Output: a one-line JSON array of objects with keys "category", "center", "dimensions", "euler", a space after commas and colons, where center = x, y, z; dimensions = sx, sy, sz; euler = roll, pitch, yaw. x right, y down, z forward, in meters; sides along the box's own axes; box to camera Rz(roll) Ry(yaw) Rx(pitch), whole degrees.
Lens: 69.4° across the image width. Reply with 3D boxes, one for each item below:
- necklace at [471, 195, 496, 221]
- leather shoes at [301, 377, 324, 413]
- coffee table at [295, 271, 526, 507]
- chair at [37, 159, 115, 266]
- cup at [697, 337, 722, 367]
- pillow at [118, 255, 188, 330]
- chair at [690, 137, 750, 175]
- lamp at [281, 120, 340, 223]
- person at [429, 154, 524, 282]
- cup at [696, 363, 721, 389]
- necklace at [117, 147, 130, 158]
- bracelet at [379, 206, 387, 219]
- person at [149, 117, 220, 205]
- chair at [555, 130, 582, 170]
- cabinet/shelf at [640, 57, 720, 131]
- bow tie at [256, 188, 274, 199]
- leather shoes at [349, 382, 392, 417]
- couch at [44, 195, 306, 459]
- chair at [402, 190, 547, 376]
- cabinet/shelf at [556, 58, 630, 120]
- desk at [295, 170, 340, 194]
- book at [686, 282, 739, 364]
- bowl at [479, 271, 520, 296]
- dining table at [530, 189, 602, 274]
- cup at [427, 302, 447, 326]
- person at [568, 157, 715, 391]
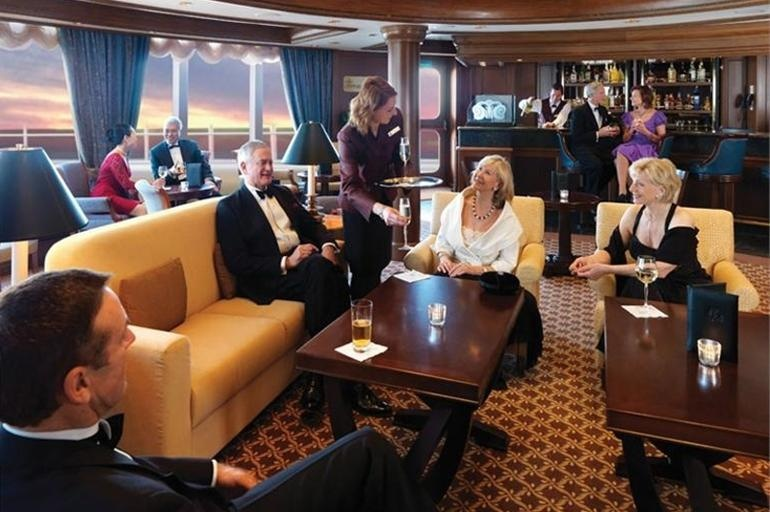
[{"category": "necklace", "center": [0.736, -0.367, 4.291], "dimensions": [0.151, 0.198, 0.034], "euler": [0, 9, 27]}, {"category": "leather shoes", "center": [-0.458, 0.881, 3.583], "dimensions": [0.168, 0.084, 0.229], "euler": [-2, 52, 10]}, {"category": "coffee table", "center": [0.255, 0.763, 3.426], "dimensions": [1.021, 0.799, 1.671], "euler": [5, 13, 22]}, {"category": "chair", "center": [-3.440, -0.502, 6.474], "dimensions": [0.962, 1.058, 1.032], "euler": [8, 18, 44]}, {"category": "cup", "center": [1.501, 0.454, 2.637], "dimensions": [0.108, 0.127, 0.119], "euler": [0, -2, 9]}, {"category": "pillow", "center": [-1.367, 0.217, 3.239], "dimensions": [0.138, 0.305, 0.403], "euler": [6, 15, 18]}, {"category": "chair", "center": [4.571, -1.381, 7.638], "dimensions": [0.612, 0.568, 0.775], "euler": [-12, 16, -21]}, {"category": "lamp", "center": [-0.599, -0.777, 5.114], "dimensions": [0.513, 0.793, 0.483], "euler": [-4, 15, -43]}, {"category": "person", "center": [0.692, -0.229, 4.210], "dimensions": [0.679, 1.006, 0.636], "euler": [10, 23, 16]}, {"category": "cup", "center": [1.454, 0.541, 2.488], "dimensions": [0.092, 0.086, 0.087], "euler": [-3, -4, 0]}, {"category": "necklace", "center": [-3.169, -1.243, 6.739], "dimensions": [0.100, 0.096, 0.122], "euler": [-36, 5, -31]}, {"category": "bracelet", "center": [-0.007, -0.315, 4.076], "dimensions": [0.026, 0.068, 0.055], "euler": [16, 15, -28]}, {"category": "person", "center": [-2.645, -1.224, 7.138], "dimensions": [0.748, 1.097, 1.055], "euler": [-13, 11, -34]}, {"category": "chair", "center": [2.526, -1.418, 7.709], "dimensions": [0.488, 0.550, 0.409], "euler": [1, 14, 11]}, {"category": "cabinet/shelf", "center": [5.315, -2.887, 10.132], "dimensions": [1.366, 1.387, 0.436], "euler": [7, 20, 39]}, {"category": "bow tie", "center": [-0.897, -0.466, 4.147], "dimensions": [0.079, 0.030, 0.084], "euler": [-23, -20, 28]}, {"category": "leather shoes", "center": [-0.119, 0.925, 3.643], "dimensions": [0.161, 0.165, 0.425], "euler": [-7, 9, -39]}, {"category": "couch", "center": [-1.126, 0.306, 3.762], "dimensions": [0.931, 1.194, 2.098], "euler": [7, 18, 19]}, {"category": "chair", "center": [0.753, 0.133, 4.551], "dimensions": [1.014, 1.207, 0.755], "euler": [4, 16, 12]}, {"category": "cabinet/shelf", "center": [3.935, -3.162, 10.404], "dimensions": [1.201, 1.110, 0.411], "euler": [11, 33, 35]}, {"category": "desk", "center": [-1.102, -1.204, 9.206], "dimensions": [0.666, 0.478, 0.666], "euler": [1, 3, 3]}, {"category": "book", "center": [1.573, 0.292, 2.763], "dimensions": [0.163, 0.364, 0.338], "euler": [-10, 21, 3]}, {"category": "bowl", "center": [0.724, 0.166, 3.551], "dimensions": [0.166, 0.058, 0.162], "euler": [3, 8, 0]}, {"category": "dining table", "center": [1.957, -0.217, 6.041], "dimensions": [0.629, 0.744, 0.607], "euler": [2, 4, 21]}, {"category": "cup", "center": [0.285, 0.326, 3.078], "dimensions": [0.101, 0.095, 0.116], "euler": [0, -2, -2]}, {"category": "person", "center": [1.824, 0.071, 3.884], "dimensions": [1.000, 1.427, 0.693], "euler": [-11, 11, -31]}]
